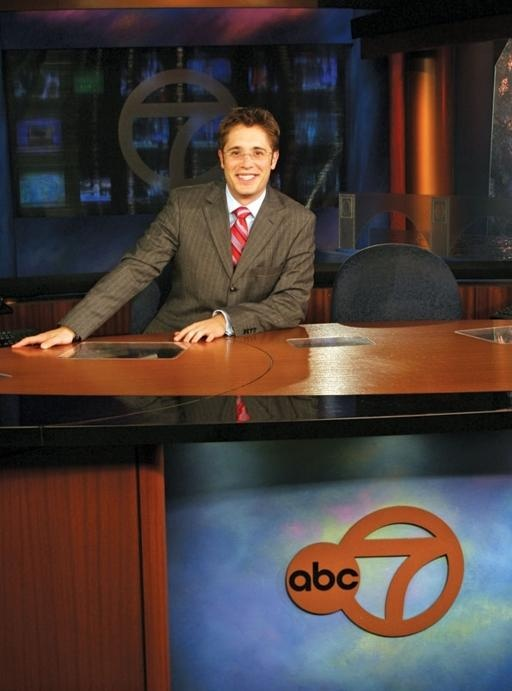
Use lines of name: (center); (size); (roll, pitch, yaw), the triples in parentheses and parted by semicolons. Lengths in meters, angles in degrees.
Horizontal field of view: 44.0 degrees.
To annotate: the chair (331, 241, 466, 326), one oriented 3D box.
chair: (0.464, -0.232, 2.141); (0.321, 0.288, 0.348); (-2, 14, -3)
